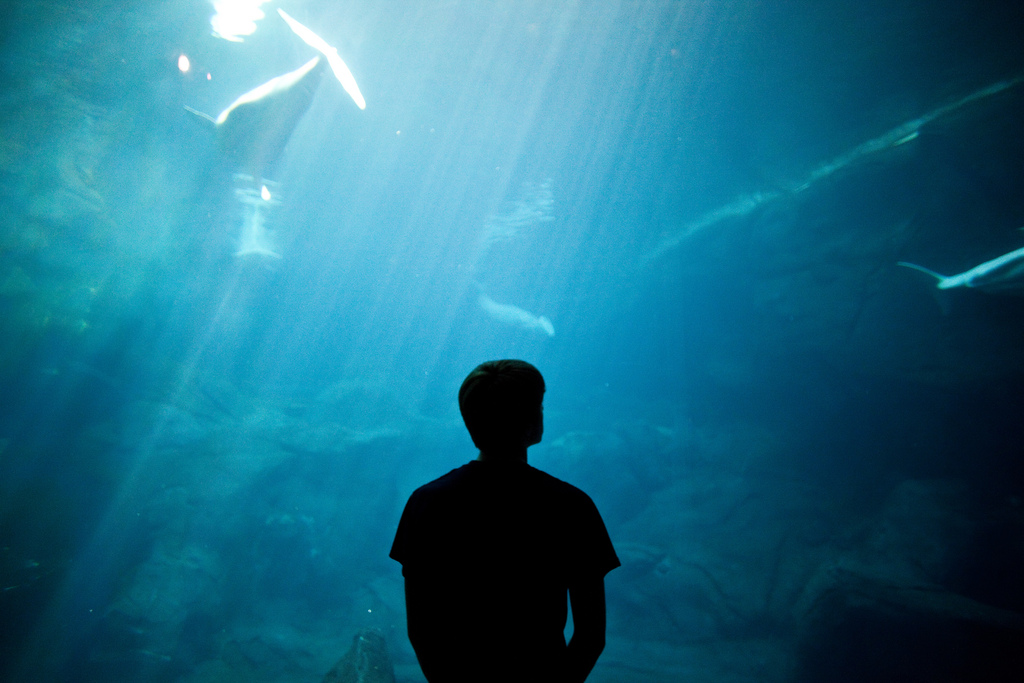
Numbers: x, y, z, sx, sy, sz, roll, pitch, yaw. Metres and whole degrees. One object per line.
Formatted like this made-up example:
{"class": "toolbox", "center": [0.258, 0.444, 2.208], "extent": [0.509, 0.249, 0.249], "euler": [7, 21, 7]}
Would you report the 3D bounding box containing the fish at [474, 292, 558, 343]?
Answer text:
{"class": "fish", "center": [0.091, -1.209, 39.242], "extent": [3.145, 2.146, 1.370], "euler": [-4, -26, 8]}
